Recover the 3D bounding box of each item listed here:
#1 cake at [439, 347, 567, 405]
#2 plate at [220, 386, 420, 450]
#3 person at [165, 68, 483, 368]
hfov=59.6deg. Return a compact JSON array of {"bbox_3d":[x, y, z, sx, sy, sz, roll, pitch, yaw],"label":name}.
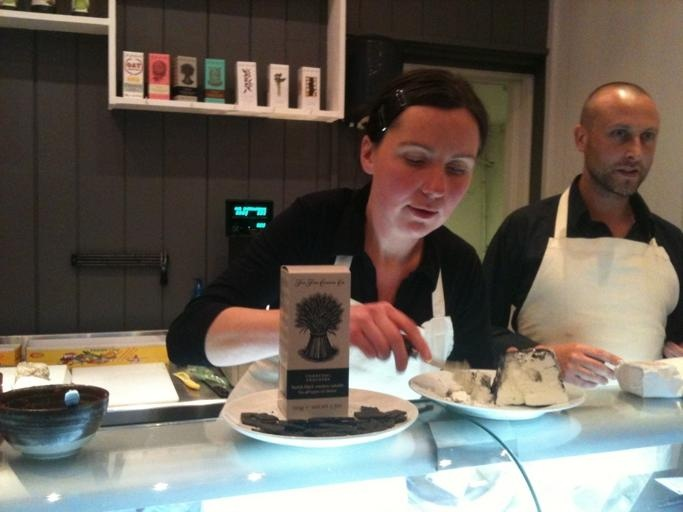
[{"bbox_3d":[0.344,0.225,1.244,0.151,0.062,0.165,-8,5,-33],"label":"cake"},{"bbox_3d":[-0.042,0.302,1.127,0.366,0.043,0.202,-2,9,-2],"label":"plate"},{"bbox_3d":[0.001,-0.055,1.501,0.847,0.793,0.427,-5,9,-15],"label":"person"}]
